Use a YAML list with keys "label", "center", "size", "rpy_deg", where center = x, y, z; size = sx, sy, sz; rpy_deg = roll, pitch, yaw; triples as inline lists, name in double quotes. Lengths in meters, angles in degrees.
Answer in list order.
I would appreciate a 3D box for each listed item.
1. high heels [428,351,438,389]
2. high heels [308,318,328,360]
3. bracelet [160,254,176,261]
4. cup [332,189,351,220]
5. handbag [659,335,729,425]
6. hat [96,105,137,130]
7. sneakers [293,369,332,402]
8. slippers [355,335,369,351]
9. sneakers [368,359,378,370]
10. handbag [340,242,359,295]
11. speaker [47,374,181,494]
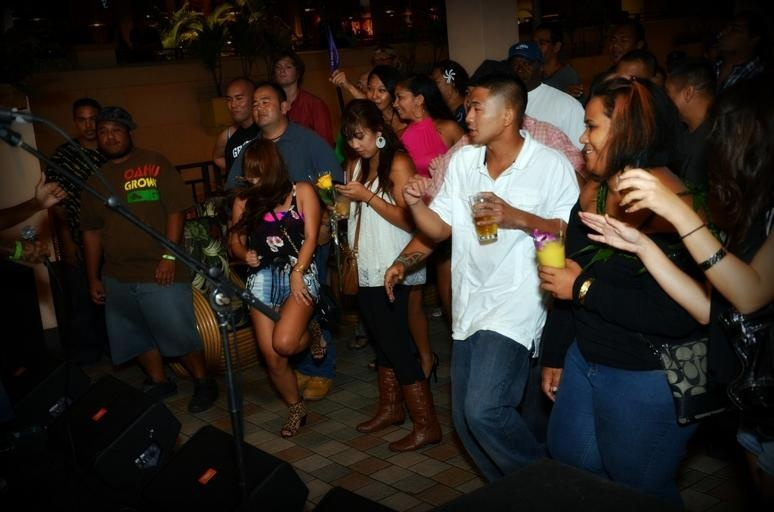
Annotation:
- label: "high heels"
  center: [0.440, 1.064, 4.753]
  size: [0.127, 0.318, 0.103]
  rpy_deg: [4, 5, 29]
- label: "high heels"
  center: [-0.640, 0.769, 4.691]
  size: [0.156, 0.171, 0.446]
  rpy_deg: [-4, 20, -6]
- label: "bracelet"
  center: [-2.027, 0.023, 4.697]
  size: [0.128, 0.068, 0.053]
  rpy_deg: [-2, 20, 9]
- label: "cup"
  center: [-0.374, -0.416, 4.291]
  size: [0.151, 0.215, 0.301]
  rpy_deg: [-7, 19, -4]
- label: "handbag"
  center: [1.378, 0.562, 2.282]
  size: [0.342, 0.332, 0.086]
  rpy_deg: [-8, -12, 0]
- label: "hat"
  center: [-2.513, -1.264, 4.722]
  size: [0.249, 0.233, 0.345]
  rpy_deg: [11, 25, 39]
- label: "sneakers"
  center: [-0.671, 1.242, 4.878]
  size: [0.158, 0.189, 0.438]
  rpy_deg: [10, 7, 35]
- label: "slippers"
  center: [-0.287, 0.977, 5.682]
  size: [0.080, 0.088, 0.218]
  rpy_deg: [0, -2, 10]
- label: "sneakers"
  center: [-0.143, 1.126, 5.258]
  size: [0.058, 0.069, 0.163]
  rpy_deg: [1, 7, -9]
- label: "handbag"
  center: [-0.296, 0.110, 4.056]
  size: [0.193, 0.431, 0.440]
  rpy_deg: [1, 2, -4]
- label: "speaker"
  center: [-1.939, 1.216, 3.534]
  size: [0.802, 0.550, 0.706]
  rpy_deg: [6, 34, 46]
